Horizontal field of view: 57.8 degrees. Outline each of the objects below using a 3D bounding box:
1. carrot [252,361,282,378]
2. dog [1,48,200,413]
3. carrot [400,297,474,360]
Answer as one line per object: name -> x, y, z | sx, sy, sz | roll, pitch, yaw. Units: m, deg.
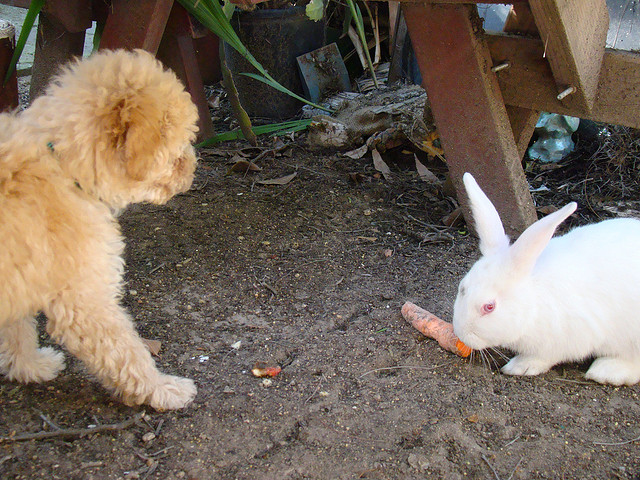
carrot -> -0.292, 0.719, 3.202 | 0.151, 0.028, 0.113 | -1, 30, 2
dog -> -1.074, -0.013, 2.904 | 0.851, 1.612, 0.891 | 1, 31, 7
carrot -> 0.657, 0.532, 3.349 | 0.117, 0.140, 0.479 | -23, 36, -30
